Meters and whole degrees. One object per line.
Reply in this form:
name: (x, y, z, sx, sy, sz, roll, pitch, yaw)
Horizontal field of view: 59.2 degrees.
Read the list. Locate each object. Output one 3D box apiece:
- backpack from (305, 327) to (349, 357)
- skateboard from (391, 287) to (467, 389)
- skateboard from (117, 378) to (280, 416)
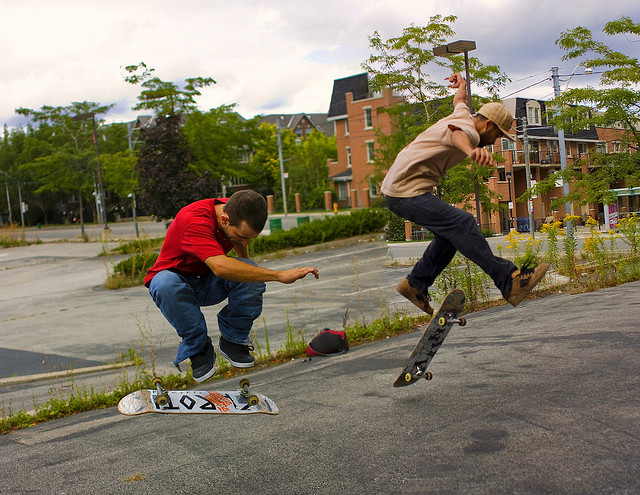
backpack: (0.108, 1.339, 8.016, 0.452, 0.247, 0.362, -3, -2, 13)
skateboard: (1.293, 1.092, 6.697, 0.248, 1.025, 0.149, 27, 8, -33)
skateboard: (-1.044, 1.392, 5.042, 1.453, 0.298, 0.420, 9, 9, -30)
